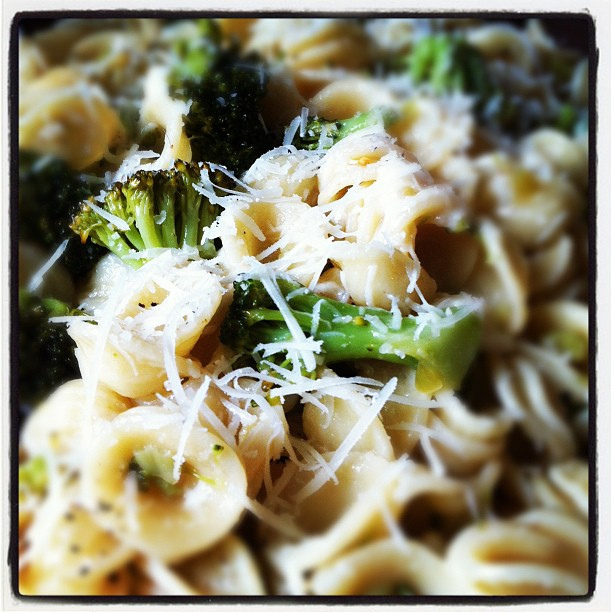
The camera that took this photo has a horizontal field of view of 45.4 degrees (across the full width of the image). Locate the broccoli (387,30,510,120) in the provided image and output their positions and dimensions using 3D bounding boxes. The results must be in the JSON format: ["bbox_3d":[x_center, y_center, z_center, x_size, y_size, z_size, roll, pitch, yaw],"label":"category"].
[{"bbox_3d":[0.392,-0.635,2.005,0.329,0.252,0.104,15,58,19],"label":"broccoli"}]

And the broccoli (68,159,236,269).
[{"bbox_3d":[-0.395,-0.271,2.021,0.359,0.343,0.203,1,106,15],"label":"broccoli"}]

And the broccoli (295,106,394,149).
[{"bbox_3d":[0.107,-0.494,2.056,0.070,0.074,0.261,24,31,35],"label":"broccoli"}]

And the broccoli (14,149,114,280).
[{"bbox_3d":[-0.678,-0.269,1.995,0.319,0.095,0.292,-31,92,-37],"label":"broccoli"}]

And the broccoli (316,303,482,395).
[{"bbox_3d":[0.224,0.104,1.823,0.395,0.122,0.199,3,65,2],"label":"broccoli"}]

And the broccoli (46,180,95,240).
[{"bbox_3d":[-0.666,-0.264,2.000,0.134,0.032,0.137,5,88,-17],"label":"broccoli"}]

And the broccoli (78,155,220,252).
[{"bbox_3d":[-0.407,-0.255,1.977,0.327,0.334,0.196,4,98,38],"label":"broccoli"}]
